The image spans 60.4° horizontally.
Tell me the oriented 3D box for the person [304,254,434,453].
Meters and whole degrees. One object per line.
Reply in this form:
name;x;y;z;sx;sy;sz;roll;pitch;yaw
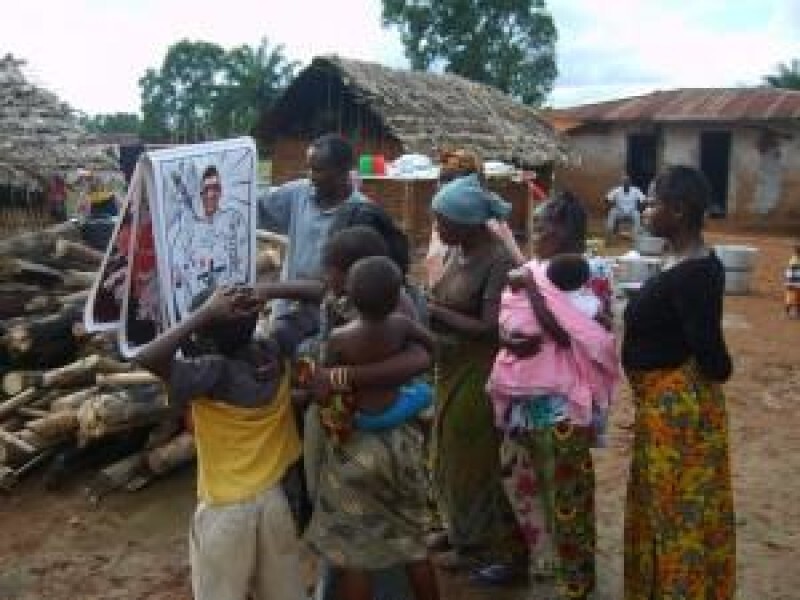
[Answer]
person;-0.112;0.280;3.522;0.588;1.029;0.426;-1;11;0

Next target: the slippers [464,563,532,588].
slippers;0.631;1.704;4.353;0.398;0.090;0.148;0;7;-11

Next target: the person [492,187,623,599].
person;0.885;0.703;4.014;0.654;1.955;0.435;6;13;33

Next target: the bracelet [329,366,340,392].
bracelet;-0.299;0.377;3.337;0.042;0.092;0.090;-1;7;9

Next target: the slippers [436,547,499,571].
slippers;0.457;1.675;4.536;0.350;0.125;0.156;0;4;-9

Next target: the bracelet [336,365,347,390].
bracelet;-0.279;0.376;3.329;0.033;0.083;0.080;-3;2;2

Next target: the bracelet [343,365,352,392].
bracelet;-0.254;0.381;3.338;0.034;0.120;0.041;-2;11;-6
